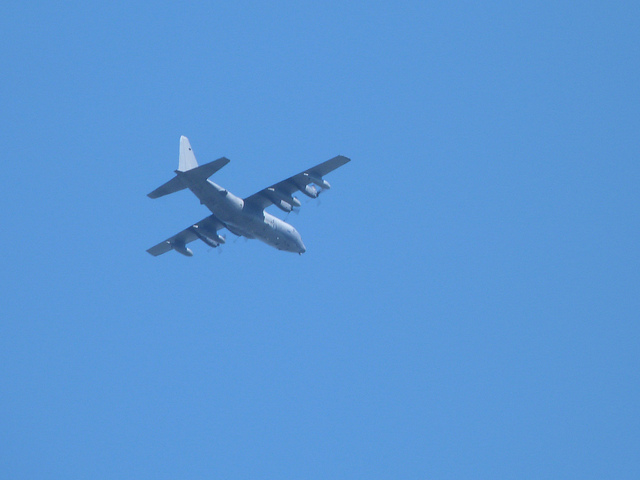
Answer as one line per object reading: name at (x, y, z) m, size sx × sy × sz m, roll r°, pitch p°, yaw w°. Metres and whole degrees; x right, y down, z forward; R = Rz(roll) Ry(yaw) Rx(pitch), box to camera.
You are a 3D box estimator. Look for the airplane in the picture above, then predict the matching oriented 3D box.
airplane at (-6.196, -2.787, 100.248) m, size 14.005 × 6.999 × 11.344 m, roll -6°, pitch -57°, yaw -1°
